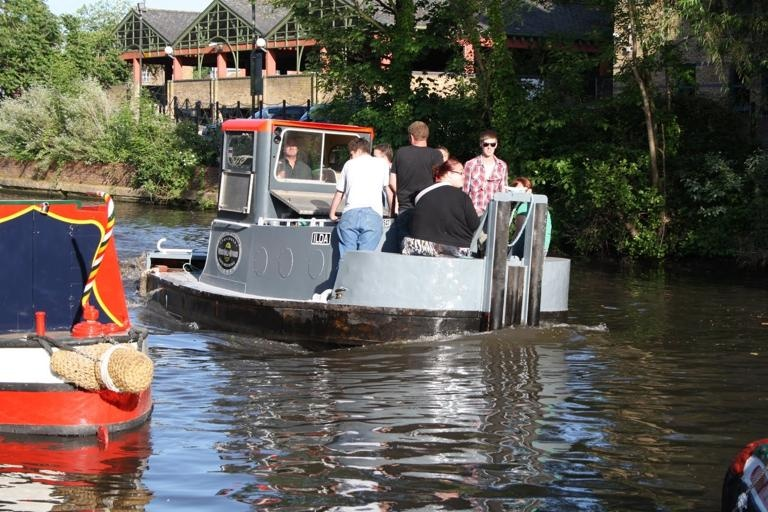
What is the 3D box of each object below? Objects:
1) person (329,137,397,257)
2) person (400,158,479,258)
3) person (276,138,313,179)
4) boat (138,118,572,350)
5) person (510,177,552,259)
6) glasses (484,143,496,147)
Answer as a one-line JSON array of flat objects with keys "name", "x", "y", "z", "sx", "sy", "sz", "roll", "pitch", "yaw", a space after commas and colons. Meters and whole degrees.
[{"name": "person", "x": -0.390, "y": -1.044, "z": 22.354, "sx": 1.029, "sy": 1.927, "sz": 0.635, "roll": 0, "pitch": 0, "yaw": -2}, {"name": "person", "x": 0.964, "y": -0.812, "z": 21.986, "sx": 1.089, "sy": 1.306, "sz": 1.026, "roll": 27, "pitch": 40, "yaw": 21}, {"name": "person", "x": -1.702, "y": -1.830, "z": 23.699, "sx": 0.863, "sy": 0.724, "sz": 0.433, "roll": 0, "pitch": -1, "yaw": -32}, {"name": "boat", "x": -0.881, "y": -0.399, "z": 23.530, "sx": 3.883, "sy": 2.826, "sz": 7.051, "roll": -2, "pitch": 6, "yaw": -44}, {"name": "person", "x": 2.633, "y": -0.704, "z": 22.652, "sx": 0.662, "sy": 1.379, "sz": 1.416, "roll": 0, "pitch": 0, "yaw": 5}, {"name": "glasses", "x": 1.867, "y": -1.946, "z": 22.331, "sx": 0.228, "sy": 0.051, "sz": 0.162, "roll": 0, "pitch": -1, "yaw": 6}]
